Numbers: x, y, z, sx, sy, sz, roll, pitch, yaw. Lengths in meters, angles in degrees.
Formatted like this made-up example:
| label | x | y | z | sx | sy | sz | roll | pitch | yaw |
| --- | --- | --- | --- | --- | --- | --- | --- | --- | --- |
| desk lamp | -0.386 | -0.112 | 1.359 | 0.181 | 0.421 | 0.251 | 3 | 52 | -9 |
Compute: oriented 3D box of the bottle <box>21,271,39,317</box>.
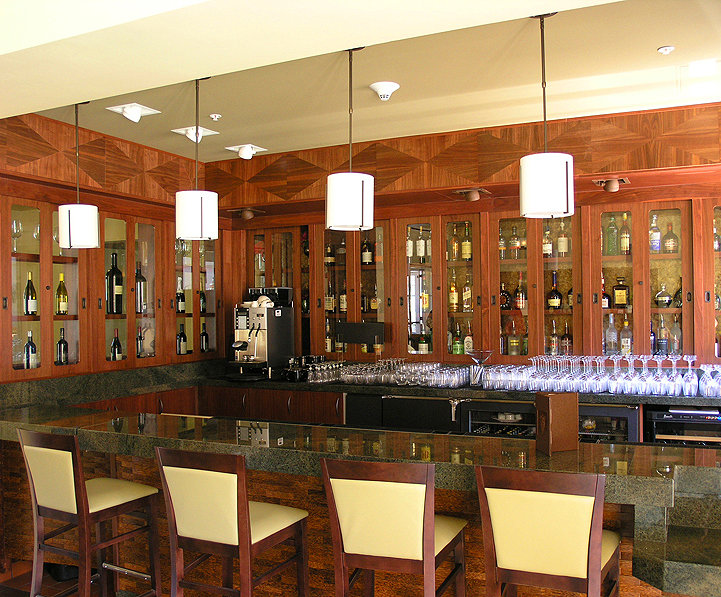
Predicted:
| label | x | y | z | sx | sy | sz | roll | pitch | yaw |
| --- | --- | --- | --- | --- | --- | --- | --- | --- | --- |
| bottle | -2.526 | -0.035 | 5.235 | 0.026 | 0.226 | 0.123 | -3 | -1 | 16 |

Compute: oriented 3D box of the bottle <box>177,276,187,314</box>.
| label | x | y | z | sx | sy | sz | roll | pitch | yaw |
| --- | --- | --- | --- | --- | --- | --- | --- | --- | --- |
| bottle | -1.732 | -0.034 | 6.594 | 0.021 | 0.279 | 0.149 | -3 | -1 | 18 |

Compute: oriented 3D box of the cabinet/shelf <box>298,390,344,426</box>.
| label | x | y | z | sx | sy | sz | roll | pitch | yaw |
| --- | --- | --- | --- | --- | --- | --- | --- | --- | --- |
| cabinet/shelf | -0.324 | 0.954 | 5.941 | 0.422 | 0.305 | 0.260 | -2 | -4 | 23 |

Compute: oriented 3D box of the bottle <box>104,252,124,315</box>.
| label | x | y | z | sx | sy | sz | roll | pitch | yaw |
| --- | --- | --- | --- | --- | --- | --- | --- | --- | --- |
| bottle | -2.136 | -0.132 | 5.943 | 0.021 | 0.399 | 0.173 | -3 | -1 | 35 |

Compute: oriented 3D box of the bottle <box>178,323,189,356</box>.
| label | x | y | z | sx | sy | sz | roll | pitch | yaw |
| --- | --- | --- | --- | --- | --- | --- | --- | --- | --- |
| bottle | -1.723 | 0.397 | 6.615 | 0.029 | 0.230 | 0.136 | -3 | -1 | 24 |

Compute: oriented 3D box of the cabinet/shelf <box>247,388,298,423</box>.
| label | x | y | z | sx | sy | sz | roll | pitch | yaw |
| --- | --- | --- | --- | --- | --- | --- | --- | --- | --- |
| cabinet/shelf | -0.807 | 0.963 | 6.225 | 0.466 | 0.294 | 0.340 | -1 | -4 | 25 |

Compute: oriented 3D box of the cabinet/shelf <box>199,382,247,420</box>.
| label | x | y | z | sx | sy | sz | roll | pitch | yaw |
| --- | --- | --- | --- | --- | --- | --- | --- | --- | --- |
| cabinet/shelf | -1.297 | 0.965 | 6.434 | 0.559 | 0.397 | 0.374 | -1 | -3 | 25 |

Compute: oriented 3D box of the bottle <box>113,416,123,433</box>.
| label | x | y | z | sx | sy | sz | roll | pitch | yaw |
| --- | --- | --- | --- | --- | --- | --- | --- | --- | --- |
| bottle | -1.384 | 0.724 | 3.877 | 0.066 | 0.124 | 0.065 | -2 | -6 | 0 |

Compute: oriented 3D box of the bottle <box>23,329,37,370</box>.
| label | x | y | z | sx | sy | sz | roll | pitch | yaw |
| --- | --- | --- | --- | --- | --- | --- | --- | --- | --- |
| bottle | -2.517 | 0.397 | 5.214 | 0.031 | 0.191 | 0.124 | -3 | -1 | 18 |

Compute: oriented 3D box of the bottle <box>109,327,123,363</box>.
| label | x | y | z | sx | sy | sz | roll | pitch | yaw |
| --- | --- | --- | --- | --- | --- | --- | --- | --- | --- |
| bottle | -2.115 | 0.407 | 5.920 | 0.031 | 0.203 | 0.144 | -3 | -1 | 26 |
